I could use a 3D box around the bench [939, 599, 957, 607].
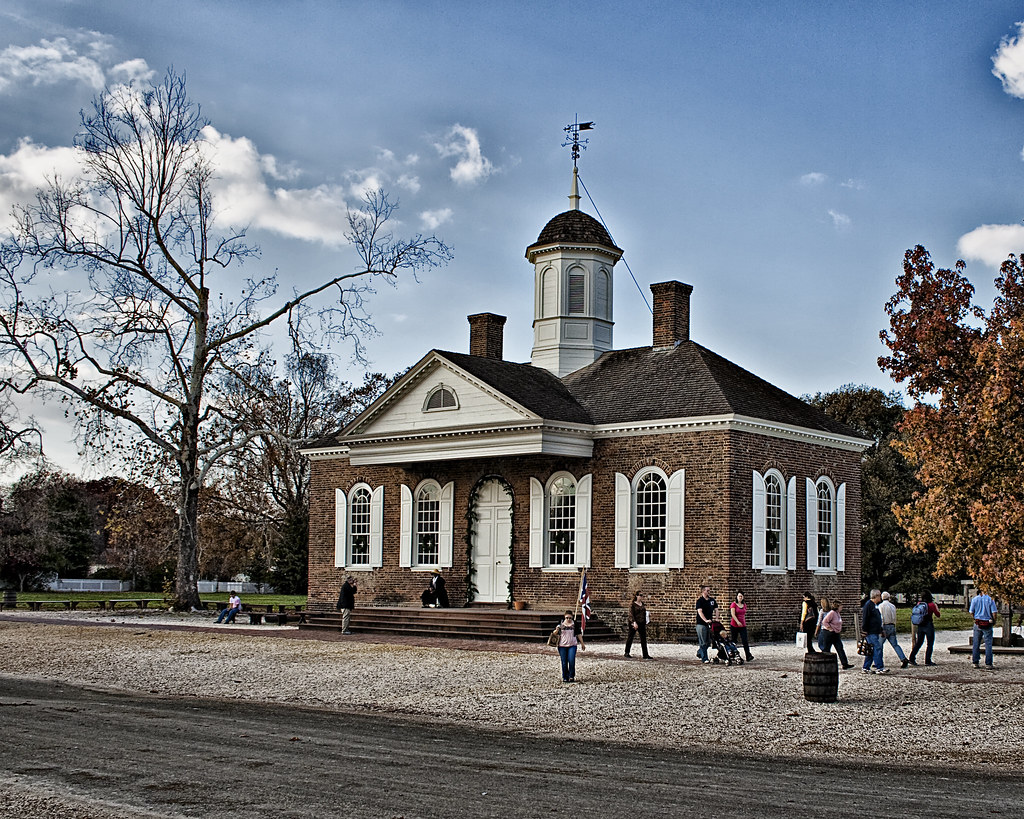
[{"bbox_3d":[24.517,10.901,70.889,0.973,0.440,1.452,-2,-10,7],"label":"bench"}]

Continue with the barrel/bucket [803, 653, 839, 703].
[{"bbox_3d":[5.266,4.574,21.467,0.556,0.838,0.540,2,-11,0],"label":"barrel/bucket"}]

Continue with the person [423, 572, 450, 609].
[{"bbox_3d":[-2.296,5.511,38.695,0.871,1.158,1.242,2,-11,-4],"label":"person"}]
